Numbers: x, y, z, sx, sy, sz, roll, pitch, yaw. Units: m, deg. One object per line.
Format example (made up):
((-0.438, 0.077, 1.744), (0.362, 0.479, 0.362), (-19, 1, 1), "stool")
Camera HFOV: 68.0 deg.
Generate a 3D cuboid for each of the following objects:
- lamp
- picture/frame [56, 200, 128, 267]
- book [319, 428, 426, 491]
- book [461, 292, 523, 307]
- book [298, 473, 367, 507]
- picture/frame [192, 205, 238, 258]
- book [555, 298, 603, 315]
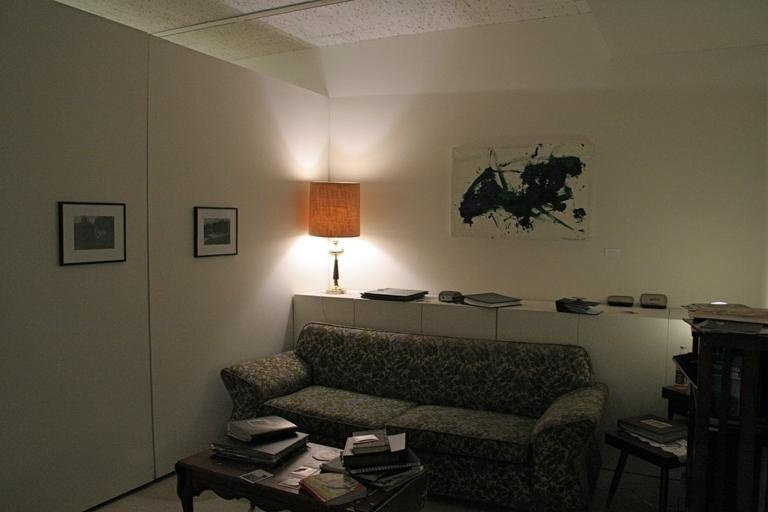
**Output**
((-0.519, -0.180, 5.801), (0.501, 1.108, 0.519), (1, -1, -10), "lamp")
((-2.162, -0.168, 4.167), (0.051, 0.474, 0.496), (2, 2, 41), "picture/frame")
((-0.077, 1.319, 3.661), (0.649, 0.277, 0.229), (0, -1, 8), "book")
((0.973, 0.397, 5.094), (0.436, 0.116, 0.329), (-1, -2, 41), "book")
((-0.306, 1.439, 3.510), (0.396, 0.122, 0.222), (1, -1, -17), "book")
((-1.482, -0.221, 4.921), (0.035, 0.465, 0.464), (1, 1, 39), "picture/frame")
((1.628, 0.426, 4.794), (0.231, 0.077, 0.171), (-5, 1, 34), "book")
